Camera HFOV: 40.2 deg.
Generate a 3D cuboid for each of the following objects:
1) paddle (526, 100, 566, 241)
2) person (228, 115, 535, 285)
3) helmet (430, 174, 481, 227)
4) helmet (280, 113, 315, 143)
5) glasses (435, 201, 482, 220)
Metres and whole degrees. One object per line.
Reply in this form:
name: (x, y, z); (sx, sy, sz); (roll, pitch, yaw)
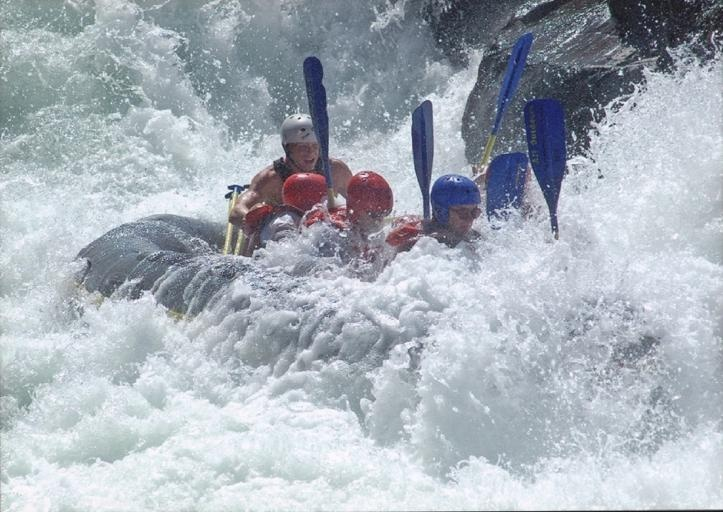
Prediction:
paddle: (1.699, -0.802, 8.990); (0.356, 1.280, 0.106); (-6, -22, 5)
person: (-0.053, -0.495, 9.046); (2.347, 1.108, 1.510); (5, 9, 18)
helmet: (0.760, -0.512, 8.445); (0.338, 0.355, 0.449); (-7, 29, -22)
helmet: (-0.633, -1.280, 9.879); (0.252, 0.302, 0.325); (-1, 20, 0)
glasses: (0.800, -0.394, 8.386); (0.255, 0.096, 0.189); (-12, 5, 17)
